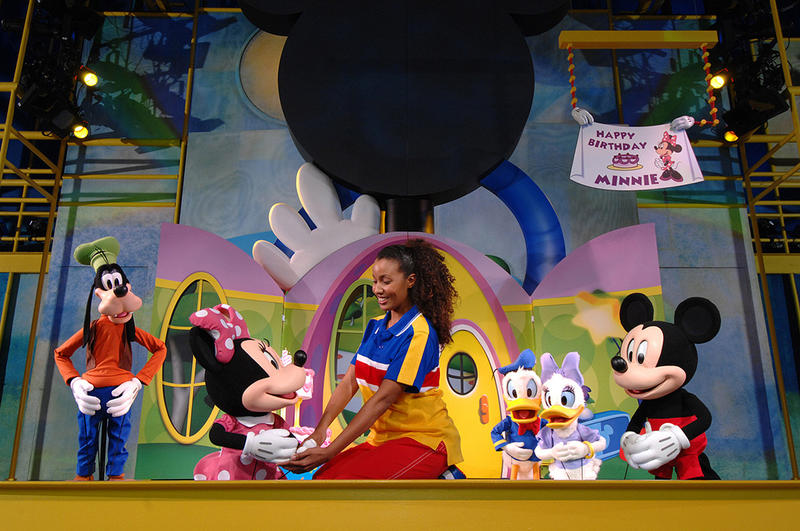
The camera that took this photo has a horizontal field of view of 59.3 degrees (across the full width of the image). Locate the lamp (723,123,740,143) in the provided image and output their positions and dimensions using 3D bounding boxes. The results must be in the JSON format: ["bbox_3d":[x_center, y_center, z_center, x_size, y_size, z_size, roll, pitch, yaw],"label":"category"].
[{"bbox_3d":[3.106,-1.231,6.569,0.128,0.173,0.383,2,13,25],"label":"lamp"}]

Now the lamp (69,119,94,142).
[{"bbox_3d":[-2.890,-1.234,6.304,0.164,0.157,0.132,-10,13,-32],"label":"lamp"}]

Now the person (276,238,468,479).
[{"bbox_3d":[-0.088,0.573,4.164,1.022,1.295,0.644,-8,12,-23],"label":"person"}]
